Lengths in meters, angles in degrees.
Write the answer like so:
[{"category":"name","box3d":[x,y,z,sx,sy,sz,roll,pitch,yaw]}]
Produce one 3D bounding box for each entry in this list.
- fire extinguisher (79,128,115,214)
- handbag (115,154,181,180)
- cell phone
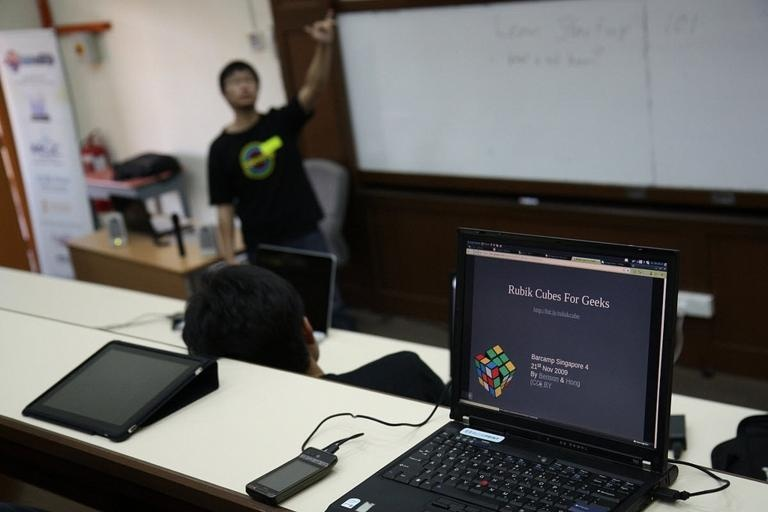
[{"category":"fire extinguisher","box3d":[-1.090,-0.340,2.381,0.086,0.320,0.168,-8,13,-39]},{"category":"handbag","box3d":[-0.922,-0.345,2.326,0.200,0.069,0.112,0,12,12]},{"category":"cell phone","box3d":[-0.184,0.400,1.141,0.075,0.029,0.135,9,21,44]}]
